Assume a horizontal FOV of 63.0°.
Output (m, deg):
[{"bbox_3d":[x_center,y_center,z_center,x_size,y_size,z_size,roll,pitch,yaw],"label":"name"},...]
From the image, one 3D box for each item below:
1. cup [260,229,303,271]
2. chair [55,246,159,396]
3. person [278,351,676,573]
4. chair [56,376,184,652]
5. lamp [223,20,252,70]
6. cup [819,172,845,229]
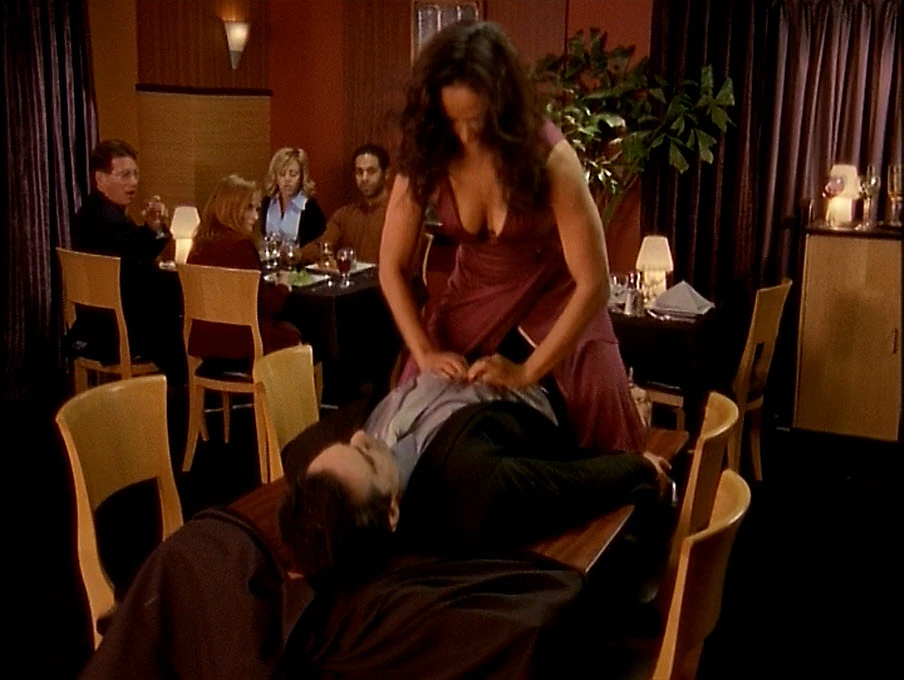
[{"bbox_3d":[-1.071,-0.548,4.625,0.211,0.211,0.261,0,0,-16],"label":"cup"},{"bbox_3d":[-1.800,-0.078,3.868,0.565,0.810,0.304,11,16,34],"label":"chair"},{"bbox_3d":[0.036,0.262,1.568,0.816,0.338,0.295,-7,17,-28],"label":"person"},{"bbox_3d":[-0.856,0.413,1.918,0.218,0.544,0.572,0,15,-4],"label":"chair"},{"bbox_3d":[-1.702,-2.361,5.913,0.245,0.397,0.271,11,19,24],"label":"lamp"},{"bbox_3d":[2.221,-0.825,4.333,0.117,0.273,0.564,7,17,25],"label":"cup"}]
